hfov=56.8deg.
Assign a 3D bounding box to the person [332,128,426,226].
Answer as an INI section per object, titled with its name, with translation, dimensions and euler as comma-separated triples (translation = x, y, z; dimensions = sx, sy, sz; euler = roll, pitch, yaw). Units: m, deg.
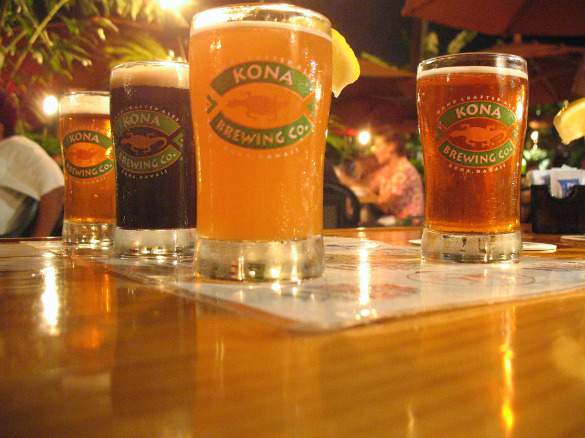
[person]
translation = 1.042, -0.386, 5.945
dimensions = 1.239, 1.205, 0.757
euler = 6, -10, -13
